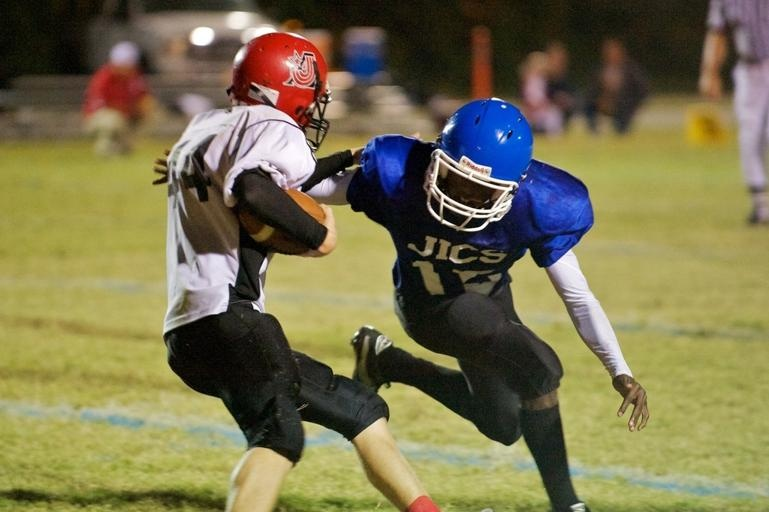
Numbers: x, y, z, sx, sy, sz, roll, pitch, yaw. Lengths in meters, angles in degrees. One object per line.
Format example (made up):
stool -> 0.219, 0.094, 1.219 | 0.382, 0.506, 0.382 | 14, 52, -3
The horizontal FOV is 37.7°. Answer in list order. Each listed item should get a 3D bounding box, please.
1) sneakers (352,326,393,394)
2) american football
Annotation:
sneakers -> -0.099, 0.554, 6.163 | 0.209, 0.394, 0.158 | -9, 23, -41
american football -> -0.473, -0.128, 5.301 | 0.371, 0.292, 0.209 | 34, -21, 1
